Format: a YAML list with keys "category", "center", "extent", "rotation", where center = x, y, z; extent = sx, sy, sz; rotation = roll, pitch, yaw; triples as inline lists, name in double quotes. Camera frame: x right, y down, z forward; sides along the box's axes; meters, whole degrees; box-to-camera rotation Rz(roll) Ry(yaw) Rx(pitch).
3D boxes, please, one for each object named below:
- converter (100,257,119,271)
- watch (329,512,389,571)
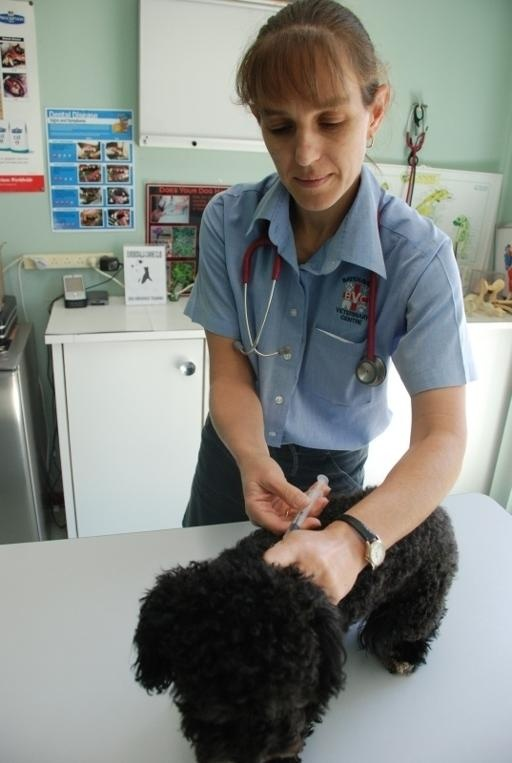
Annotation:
- category: "converter"
  center: [-0.527, -0.409, 2.226]
  extent: [0.081, 0.058, 0.048]
  rotation: [-5, 19, -30]
- category: "watch"
  center: [0.121, 0.174, 0.667]
  extent: [0.035, 0.058, 0.052]
  rotation: [-30, 26, -27]
